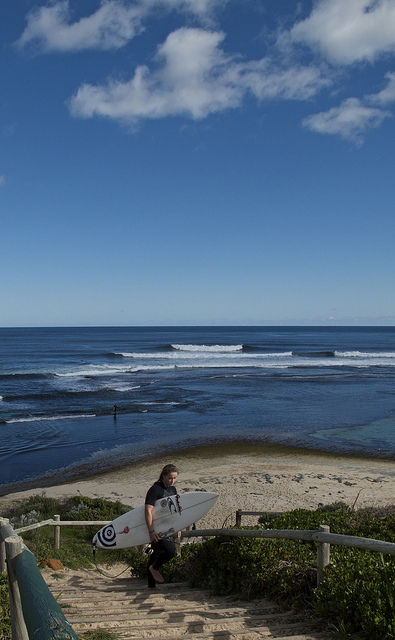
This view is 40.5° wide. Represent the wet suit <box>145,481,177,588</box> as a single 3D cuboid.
[{"bbox_3d":[-0.455,2.576,6.538,0.455,1.463,0.497,3,-12,-3],"label":"wet suit"}]
